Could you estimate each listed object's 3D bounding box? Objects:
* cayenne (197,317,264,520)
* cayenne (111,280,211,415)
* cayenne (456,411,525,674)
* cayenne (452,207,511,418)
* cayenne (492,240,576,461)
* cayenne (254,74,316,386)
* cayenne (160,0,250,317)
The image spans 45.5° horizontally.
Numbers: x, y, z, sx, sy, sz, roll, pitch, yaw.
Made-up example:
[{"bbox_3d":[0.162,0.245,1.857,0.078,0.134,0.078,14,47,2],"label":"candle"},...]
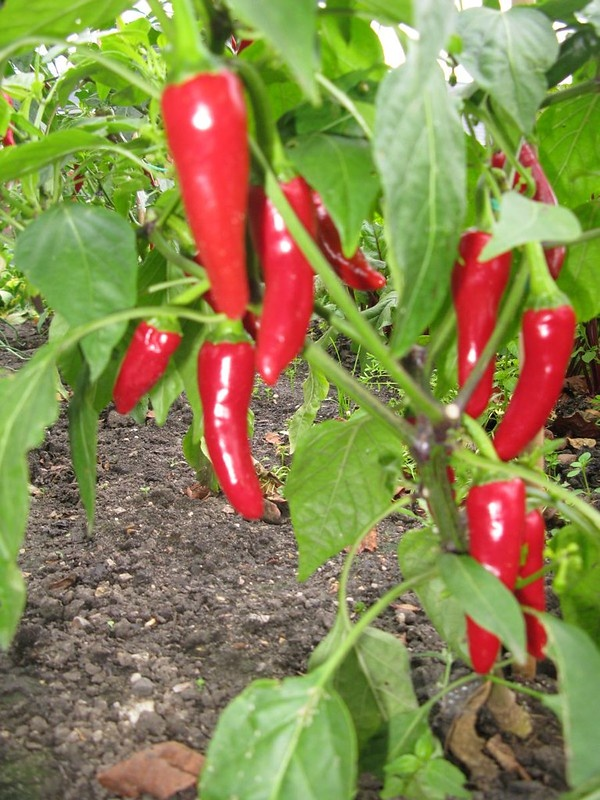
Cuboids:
[{"bbox_3d":[-0.059,0.018,0.740,0.063,0.200,0.052,-6,7,5],"label":"cayenne"},{"bbox_3d":[-0.164,-0.066,0.836,0.068,0.196,0.061,35,4,-9],"label":"cayenne"},{"bbox_3d":[0.182,0.128,0.666,0.071,0.226,0.066,6,4,19],"label":"cayenne"},{"bbox_3d":[0.169,-0.081,0.692,0.064,0.193,0.056,5,0,-8],"label":"cayenne"},{"bbox_3d":[0.213,-0.050,0.710,0.070,0.203,0.063,20,16,14],"label":"cayenne"},{"bbox_3d":[-0.004,-0.121,0.611,0.046,0.202,0.061,-5,-2,42],"label":"cayenne"},{"bbox_3d":[-0.053,-0.144,0.439,0.042,0.217,0.040,3,13,14],"label":"cayenne"}]
